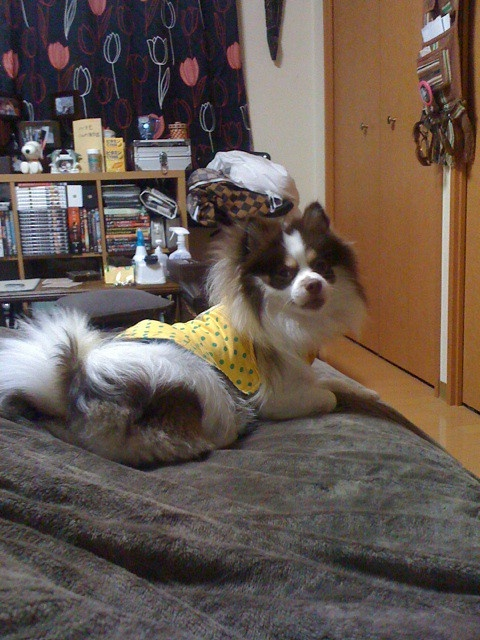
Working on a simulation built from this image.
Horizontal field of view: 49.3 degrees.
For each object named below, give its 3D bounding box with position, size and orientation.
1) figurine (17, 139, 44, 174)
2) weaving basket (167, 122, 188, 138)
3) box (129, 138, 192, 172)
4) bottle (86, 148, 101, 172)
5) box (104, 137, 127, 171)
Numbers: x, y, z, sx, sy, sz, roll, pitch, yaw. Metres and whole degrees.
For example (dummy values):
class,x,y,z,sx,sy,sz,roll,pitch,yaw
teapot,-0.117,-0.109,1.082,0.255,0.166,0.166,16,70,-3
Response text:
class,x,y,z,sx,sy,sz,roll,pitch,yaw
figurine,-1.296,-1.009,3.249,0.131,0.214,0.291,4,13,-22
weaving basket,-0.396,-1.192,3.339,0.122,0.111,0.118,0,12,1
box,-0.501,-1.038,3.365,0.280,0.150,0.232,-2,10,-5
bottle,-0.910,-0.996,3.275,0.096,0.140,0.069,6,12,-15
box,-0.792,-1.041,3.307,0.147,0.220,0.239,6,12,-14
